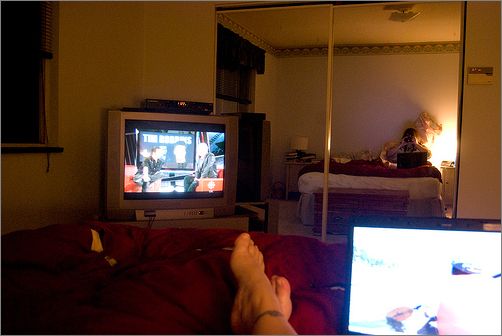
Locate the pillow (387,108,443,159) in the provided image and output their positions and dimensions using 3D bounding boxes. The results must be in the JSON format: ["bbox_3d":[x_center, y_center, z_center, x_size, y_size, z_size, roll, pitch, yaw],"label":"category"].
[{"bbox_3d":[1.630,-0.313,4.026,0.514,0.461,0.088,4,2,38],"label":"pillow"}]

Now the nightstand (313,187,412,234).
[{"bbox_3d":[1.174,0.593,4.184,1.026,0.417,0.522,-5,26,9],"label":"nightstand"}]

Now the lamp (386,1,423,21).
[{"bbox_3d":[1.438,-1.474,3.844,0.309,0.138,0.184,4,2,18],"label":"lamp"}]

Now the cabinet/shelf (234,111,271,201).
[{"bbox_3d":[0.023,-0.106,4.000,0.320,0.648,0.202,3,1,0],"label":"cabinet/shelf"}]

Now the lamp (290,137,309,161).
[{"bbox_3d":[0.552,-0.225,4.566,0.242,0.350,0.233,1,0,-25],"label":"lamp"}]

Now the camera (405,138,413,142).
[{"bbox_3d":[1.581,-0.281,4.042,0.074,0.039,0.050,2,0,17],"label":"camera"}]

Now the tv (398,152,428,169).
[{"bbox_3d":[1.592,-0.076,4.013,0.283,0.183,0.152,0,-1,19],"label":"tv"}]
